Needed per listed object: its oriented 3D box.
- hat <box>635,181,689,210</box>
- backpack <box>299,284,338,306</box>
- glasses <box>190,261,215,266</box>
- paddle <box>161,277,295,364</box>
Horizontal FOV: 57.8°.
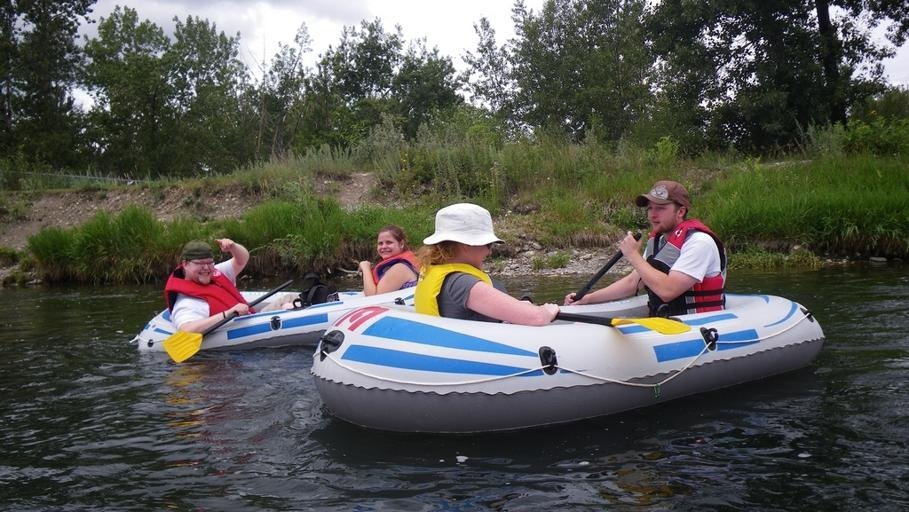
[{"bbox_3d":[4.123,-1.222,16.298,0.909,0.430,0.569,5,-7,-9],"label":"hat"},{"bbox_3d":[-2.978,0.889,18.011,0.651,0.319,0.509,-4,-2,-5],"label":"backpack"},{"bbox_3d":[-5.305,0.138,17.356,0.445,0.137,0.164,-3,2,-36],"label":"glasses"},{"bbox_3d":[-4.844,1.444,17.462,3.540,0.620,0.178,-28,0,-24],"label":"paddle"}]
